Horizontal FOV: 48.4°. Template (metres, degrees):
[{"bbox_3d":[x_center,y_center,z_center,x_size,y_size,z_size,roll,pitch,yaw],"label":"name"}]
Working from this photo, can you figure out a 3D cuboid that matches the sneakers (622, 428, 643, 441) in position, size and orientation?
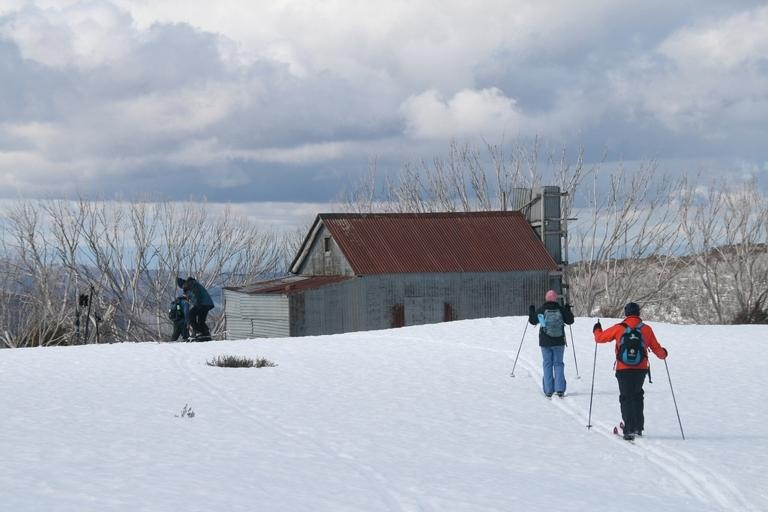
[{"bbox_3d":[6.220,4.414,21.197,0.573,0.251,0.214,-2,2,-20],"label":"sneakers"}]

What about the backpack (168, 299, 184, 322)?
[{"bbox_3d":[-7.545,1.935,30.939,0.520,0.913,0.370,-3,15,-19],"label":"backpack"}]
